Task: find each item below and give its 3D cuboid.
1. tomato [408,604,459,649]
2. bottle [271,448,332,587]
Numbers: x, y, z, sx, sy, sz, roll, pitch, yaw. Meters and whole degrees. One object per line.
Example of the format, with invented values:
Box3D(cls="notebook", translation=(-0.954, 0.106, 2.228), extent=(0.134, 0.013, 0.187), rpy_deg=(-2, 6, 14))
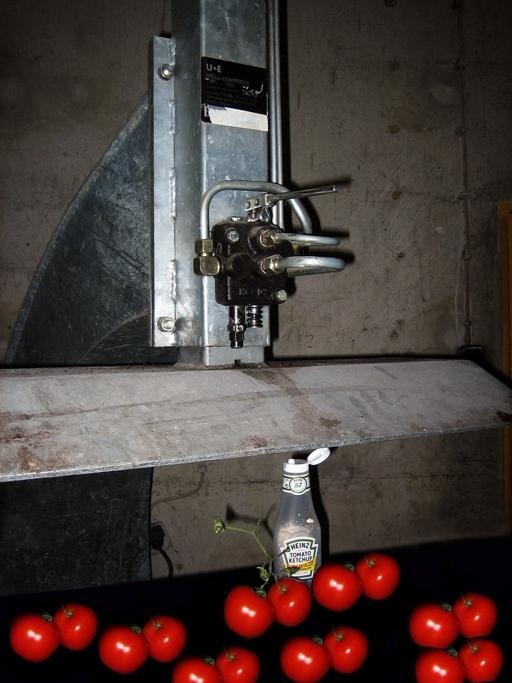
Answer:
Box3D(cls="tomato", translation=(0.281, 0.460, 1.010), extent=(0.079, 0.067, 0.047), rpy_deg=(2, 8, 22))
Box3D(cls="bottle", translation=(0.076, 0.311, 1.112), extent=(0.095, 0.272, 0.079), rpy_deg=(-2, 19, -6))
